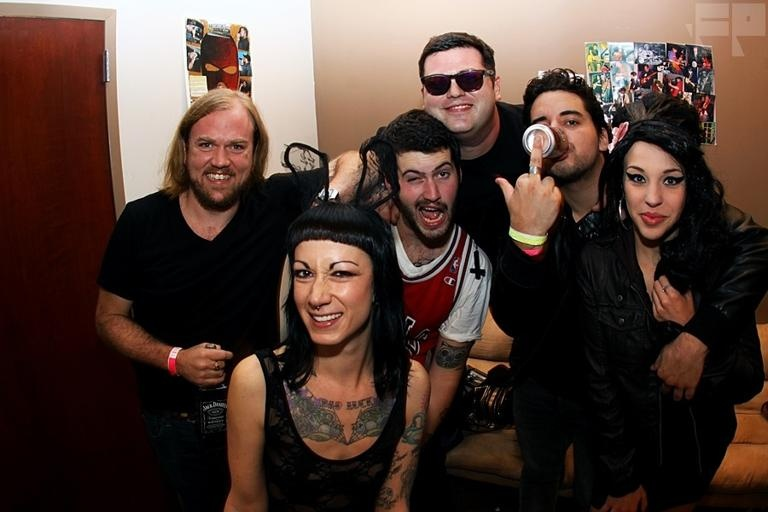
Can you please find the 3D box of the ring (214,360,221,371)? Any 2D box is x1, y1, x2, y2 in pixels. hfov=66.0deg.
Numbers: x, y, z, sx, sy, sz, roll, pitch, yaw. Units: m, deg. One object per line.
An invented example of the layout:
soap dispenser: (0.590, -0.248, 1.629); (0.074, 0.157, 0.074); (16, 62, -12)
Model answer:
ring: (-0.893, 0.589, 3.177); (0.038, 0.037, 0.017); (2, 0, -26)

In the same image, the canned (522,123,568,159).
canned: (0.877, -0.622, 3.185); (0.135, 0.134, 0.215); (34, 1, -2)

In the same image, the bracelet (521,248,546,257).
bracelet: (0.783, -0.025, 3.102); (0.136, 0.062, 0.035); (-3, 13, -17)
